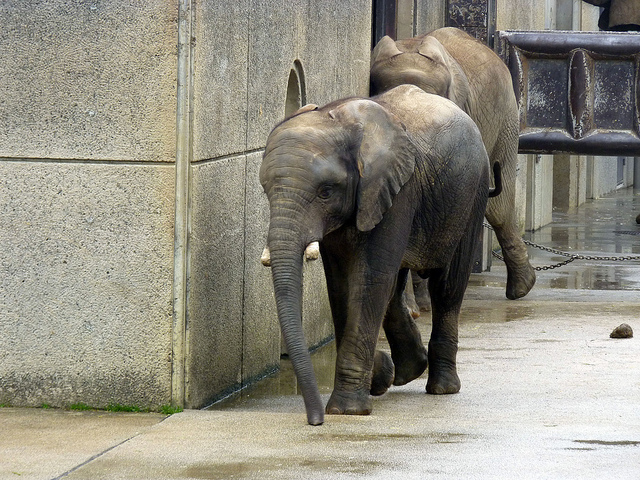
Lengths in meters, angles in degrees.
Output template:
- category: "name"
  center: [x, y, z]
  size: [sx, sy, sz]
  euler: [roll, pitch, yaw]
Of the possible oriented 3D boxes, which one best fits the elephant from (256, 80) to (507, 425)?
- category: "elephant"
  center: [0.589, 0.054, 7.128]
  size: [0.981, 1.868, 2.708]
  euler: [-1, 4, 40]
